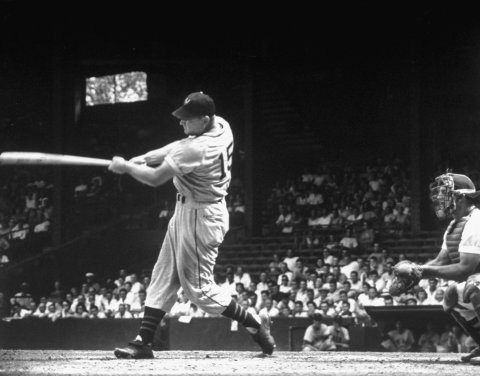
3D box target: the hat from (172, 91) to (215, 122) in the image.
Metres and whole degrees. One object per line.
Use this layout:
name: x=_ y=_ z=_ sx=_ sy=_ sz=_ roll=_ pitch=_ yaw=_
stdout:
hat: x=-0.486 y=-0.951 z=12.127 sx=0.578 sy=0.256 sz=0.357 roll=-4 pitch=14 yaw=8

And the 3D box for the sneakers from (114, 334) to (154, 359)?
sneakers: x=-1.207 y=1.805 z=12.093 sx=0.485 sy=0.235 sz=0.218 roll=7 pitch=-7 yaw=-29
